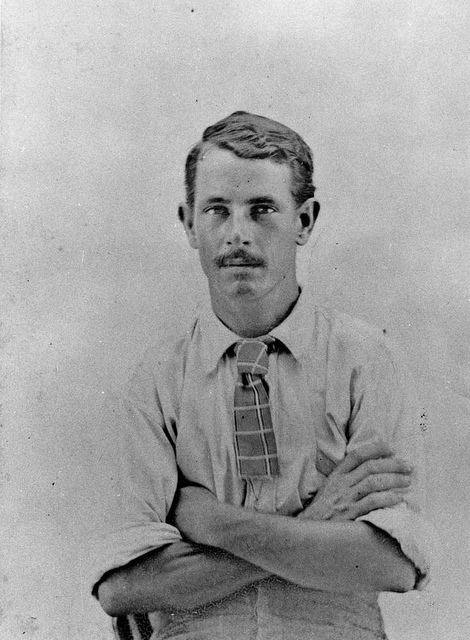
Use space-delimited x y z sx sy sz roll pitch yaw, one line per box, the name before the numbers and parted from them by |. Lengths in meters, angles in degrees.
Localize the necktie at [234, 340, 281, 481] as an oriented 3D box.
necktie | 0.055 0.267 2.759 0.127 0.493 0.054 2 32 10
